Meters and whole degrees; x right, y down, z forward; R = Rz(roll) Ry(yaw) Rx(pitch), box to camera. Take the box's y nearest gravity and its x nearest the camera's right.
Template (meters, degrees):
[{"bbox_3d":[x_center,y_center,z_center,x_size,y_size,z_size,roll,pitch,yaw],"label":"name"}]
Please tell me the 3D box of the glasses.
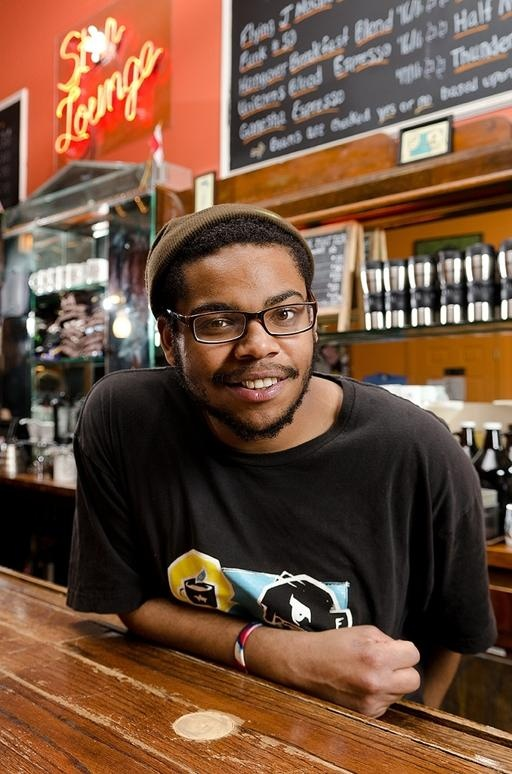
[{"bbox_3d":[-0.015,-0.101,0.988,0.213,0.076,0.075,4,-6,-5],"label":"glasses"}]
